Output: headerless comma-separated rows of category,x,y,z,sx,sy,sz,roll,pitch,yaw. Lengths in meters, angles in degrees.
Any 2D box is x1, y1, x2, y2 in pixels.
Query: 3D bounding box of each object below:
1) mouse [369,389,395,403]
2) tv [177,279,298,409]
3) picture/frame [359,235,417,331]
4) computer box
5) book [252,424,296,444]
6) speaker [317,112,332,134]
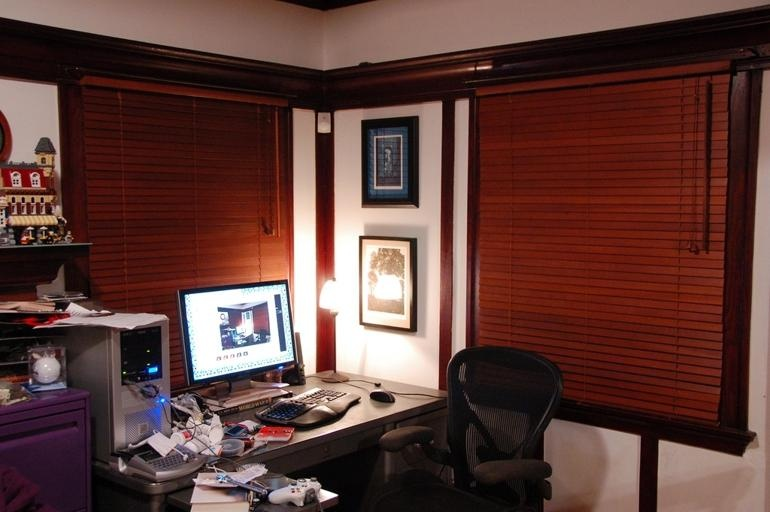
mouse,-0.012,0.875,3.547,0.127,0.039,0.069,6,2,27
tv,-0.913,0.545,3.441,0.751,0.624,0.152,-7,-2,-41
picture/frame,0.022,0.191,4.038,0.563,0.692,0.119,18,15,38
computer box,-1.357,0.646,2.912,0.471,0.695,0.356,19,15,38
book,-0.591,0.952,3.053,0.208,0.043,0.208,7,12,-7
speaker,-0.450,-0.984,4.219,0.119,0.159,0.074,6,12,-14
